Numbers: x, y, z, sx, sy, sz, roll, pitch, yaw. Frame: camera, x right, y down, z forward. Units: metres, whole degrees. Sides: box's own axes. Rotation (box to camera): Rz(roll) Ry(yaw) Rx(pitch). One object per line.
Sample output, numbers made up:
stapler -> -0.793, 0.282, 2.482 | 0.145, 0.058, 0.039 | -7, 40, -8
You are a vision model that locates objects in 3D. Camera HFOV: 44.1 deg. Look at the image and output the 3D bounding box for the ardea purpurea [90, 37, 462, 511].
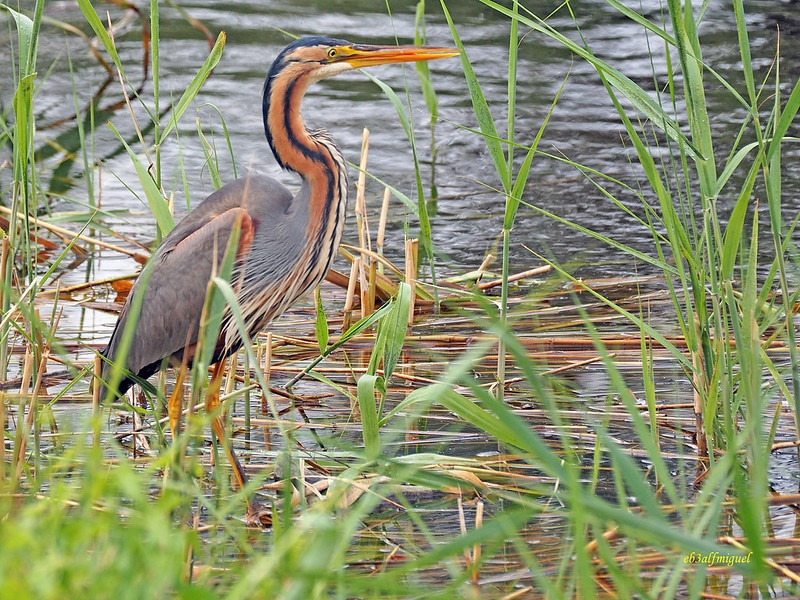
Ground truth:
ardea purpurea -> -0.620, -0.275, 4.241 | 1.195, 1.732, 0.731 | 7, 7, 3
